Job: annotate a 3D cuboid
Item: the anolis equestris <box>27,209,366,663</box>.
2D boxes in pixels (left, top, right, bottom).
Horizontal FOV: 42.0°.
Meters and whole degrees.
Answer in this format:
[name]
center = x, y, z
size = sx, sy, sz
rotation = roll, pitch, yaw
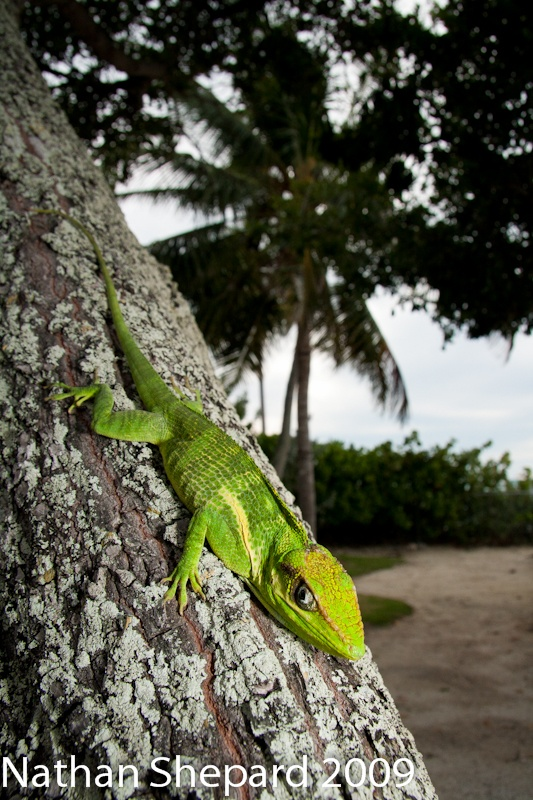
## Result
[anolis equestris]
center = -0.479, -0.033, 3.202
size = 0.903, 0.376, 2.829
rotation = -1, 44, -44
